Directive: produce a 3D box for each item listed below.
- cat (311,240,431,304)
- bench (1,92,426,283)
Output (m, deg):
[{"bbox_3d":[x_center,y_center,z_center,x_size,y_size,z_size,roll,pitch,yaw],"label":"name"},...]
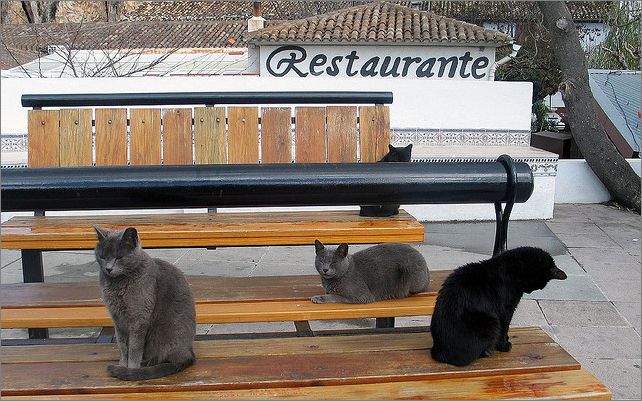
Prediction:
[{"bbox_3d":[0.352,0.616,5.558,0.895,0.353,0.545,-6,0,-23],"label":"cat"},{"bbox_3d":[-0.998,-0.108,5.983,2.840,1.060,0.818,-1,30,-2],"label":"bench"}]
